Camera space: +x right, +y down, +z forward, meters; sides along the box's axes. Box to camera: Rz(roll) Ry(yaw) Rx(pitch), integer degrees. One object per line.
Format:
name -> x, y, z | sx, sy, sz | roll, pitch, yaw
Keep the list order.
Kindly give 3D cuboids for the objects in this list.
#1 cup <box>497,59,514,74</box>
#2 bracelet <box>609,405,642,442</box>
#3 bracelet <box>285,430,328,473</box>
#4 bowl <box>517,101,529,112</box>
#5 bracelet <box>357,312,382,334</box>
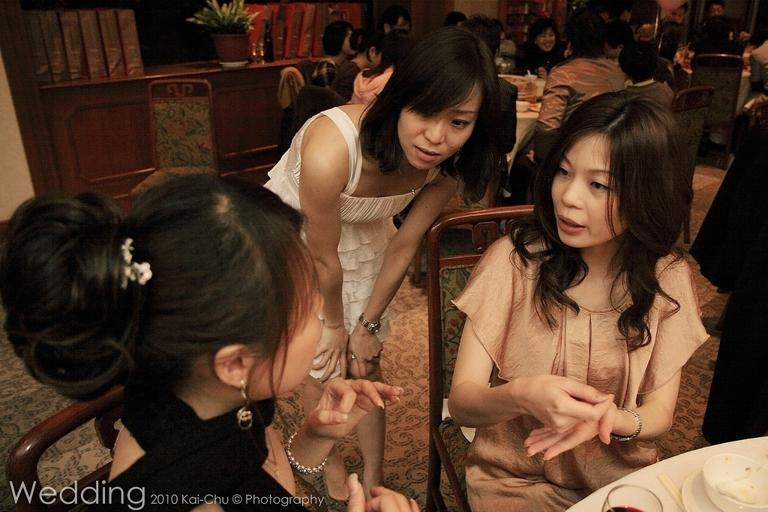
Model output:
cup -> 1.193, -1.873, 5.393 | 0.180, 0.084, 0.248 | -2, 28, -5
bracelet -> 0.634, 0.450, 1.463 | 0.086, 0.095, 0.034 | -26, 18, -16
bracelet -> -0.214, 0.536, 1.471 | 0.107, 0.115, 0.032 | -6, 10, 22
bowl -> 1.066, -1.157, 4.222 | 0.120, 0.049, 0.102 | -12, 31, -22
bracelet -> -0.053, 0.236, 1.928 | 0.067, 0.039, 0.074 | 24, -5, 3
